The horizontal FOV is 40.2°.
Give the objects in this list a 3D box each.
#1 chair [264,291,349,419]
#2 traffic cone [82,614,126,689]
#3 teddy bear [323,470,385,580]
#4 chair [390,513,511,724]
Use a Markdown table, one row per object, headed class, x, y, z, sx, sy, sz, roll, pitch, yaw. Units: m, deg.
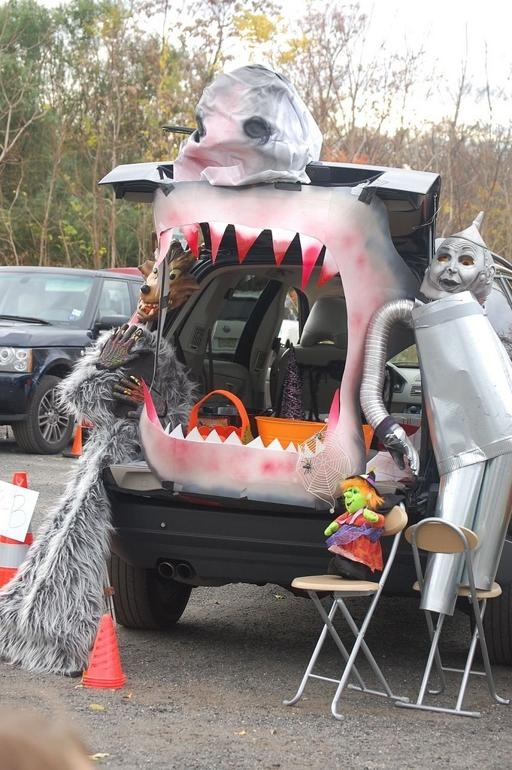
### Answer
| class | x | y | z | sx | sy | sz | roll | pitch | yaw |
| --- | --- | --- | --- | --- | --- | --- | --- | --- | --- |
| chair | 0.336 | -0.209 | 5.115 | 0.529 | 0.770 | 0.526 | -4 | 6 | -12 |
| traffic cone | -0.671 | 1.183 | 3.150 | 0.193 | 0.326 | 0.172 | 4 | -5 | -8 |
| teddy bear | 0.421 | 0.587 | 2.919 | 0.254 | 0.438 | 0.219 | 3 | -5 | -2 |
| chair | 0.887 | 0.997 | 3.109 | 0.468 | 0.853 | 0.832 | 1 | -5 | 17 |
